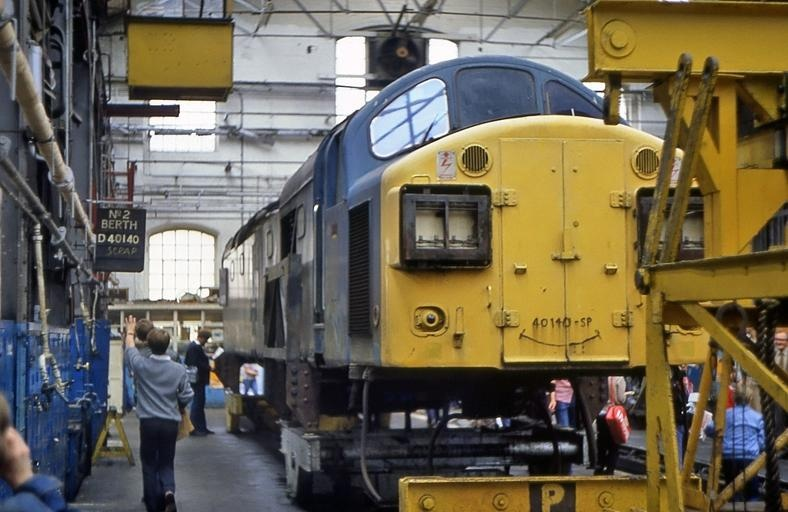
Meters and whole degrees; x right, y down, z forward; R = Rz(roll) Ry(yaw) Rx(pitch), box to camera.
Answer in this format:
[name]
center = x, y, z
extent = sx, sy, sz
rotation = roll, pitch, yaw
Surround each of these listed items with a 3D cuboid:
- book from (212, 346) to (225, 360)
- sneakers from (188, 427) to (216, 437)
[book]
center = -4.080, 2.241, 26.496
extent = 0.093, 0.362, 0.329
rotation = 36, -35, -12
[sneakers]
center = -4.173, 3.796, 24.859
extent = 0.577, 0.294, 0.200
rotation = 4, -7, -16
